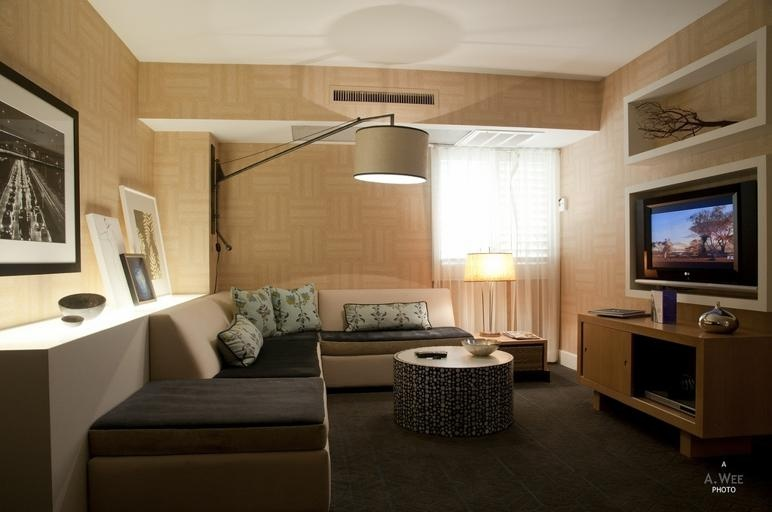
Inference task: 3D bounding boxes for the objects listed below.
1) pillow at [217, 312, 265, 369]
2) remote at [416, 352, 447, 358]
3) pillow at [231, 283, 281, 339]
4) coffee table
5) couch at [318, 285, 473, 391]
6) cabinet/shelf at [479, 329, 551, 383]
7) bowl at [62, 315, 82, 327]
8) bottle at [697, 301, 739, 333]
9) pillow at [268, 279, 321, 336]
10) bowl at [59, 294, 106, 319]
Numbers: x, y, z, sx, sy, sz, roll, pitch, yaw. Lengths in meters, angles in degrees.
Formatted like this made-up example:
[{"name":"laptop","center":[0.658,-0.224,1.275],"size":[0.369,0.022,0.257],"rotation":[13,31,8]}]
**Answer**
[{"name":"pillow","center":[-1.217,0.569,4.318],"size":[0.305,0.273,0.735],"rotation":[1,2,-7]},{"name":"remote","center":[0.384,0.844,4.498],"size":[0.167,0.029,0.089],"rotation":[0,-4,6]},{"name":"pillow","center":[-1.261,0.544,5.042],"size":[0.196,0.469,0.496],"rotation":[-21,-14,34]},{"name":"coffee table","center":[0.720,1.199,4.676],"size":[1.195,0.497,1.109],"rotation":[-4,-8,0]},{"name":"couch","center":[0.095,0.818,5.671],"size":[1.613,0.868,0.834],"rotation":[-1,5,-12]},{"name":"cabinet/shelf","center":[1.474,1.027,5.657],"size":[0.691,0.296,0.641],"rotation":[0,-1,-4]},{"name":"bowl","center":[-2.080,0.418,3.444],"size":[0.084,0.027,0.083],"rotation":[2,5,0]},{"name":"bottle","center":[2.539,0.459,4.022],"size":[0.257,0.197,0.247],"rotation":[0,-1,0]},{"name":"pillow","center":[-0.907,0.549,5.547],"size":[0.575,0.412,0.248],"rotation":[-10,21,9]},{"name":"bowl","center":[-2.130,0.322,3.649],"size":[0.224,0.095,0.213],"rotation":[2,2,0]}]
